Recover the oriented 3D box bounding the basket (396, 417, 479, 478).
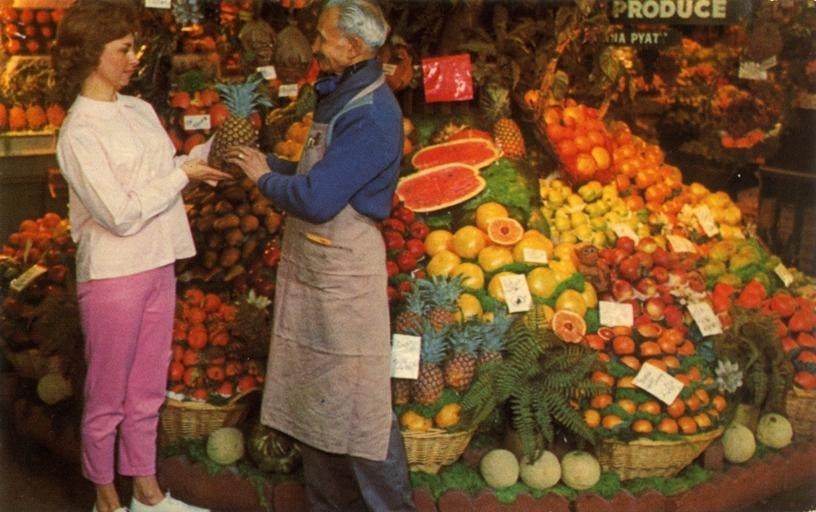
[{"bbox_3d":[0.205,1.471,4.832,0.682,0.313,0.764,0,0,6],"label":"basket"}]

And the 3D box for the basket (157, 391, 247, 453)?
[{"bbox_3d":[-1.575,1.316,5.268,0.735,0.364,0.647,1,8,6],"label":"basket"}]

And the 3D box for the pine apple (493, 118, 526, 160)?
[{"bbox_3d":[0.816,-0.949,5.134,0.215,0.336,0.167,-18,-1,-15],"label":"pine apple"}]

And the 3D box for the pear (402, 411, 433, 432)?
[{"bbox_3d":[0.075,1.279,4.891,0.203,0.140,0.107,-2,28,27],"label":"pear"}]

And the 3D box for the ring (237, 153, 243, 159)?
[{"bbox_3d":[-1.108,-0.667,4.196,0.036,0.024,0.034,-2,0,0],"label":"ring"}]

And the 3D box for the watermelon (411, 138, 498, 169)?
[{"bbox_3d":[0.401,-0.840,5.076,0.914,0.221,0.484,-4,19,-1],"label":"watermelon"}]

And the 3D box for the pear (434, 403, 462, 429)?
[{"bbox_3d":[0.318,1.241,4.862,0.207,0.143,0.122,-23,-11,4],"label":"pear"}]
